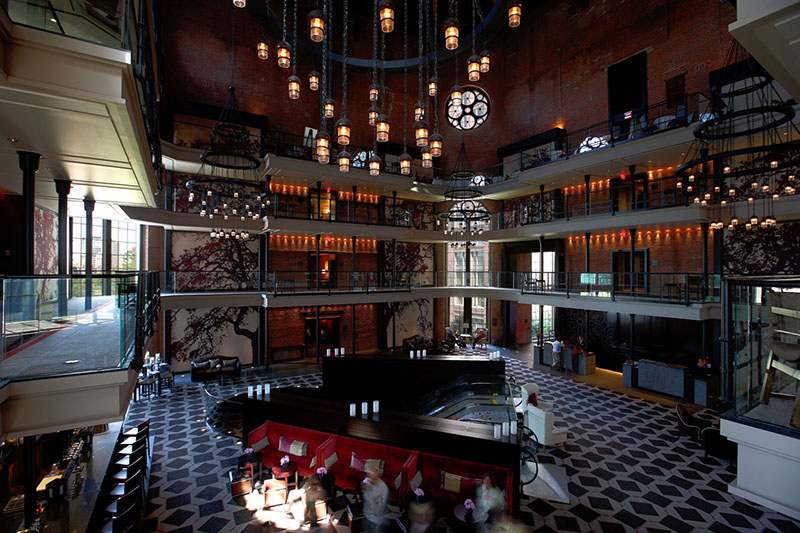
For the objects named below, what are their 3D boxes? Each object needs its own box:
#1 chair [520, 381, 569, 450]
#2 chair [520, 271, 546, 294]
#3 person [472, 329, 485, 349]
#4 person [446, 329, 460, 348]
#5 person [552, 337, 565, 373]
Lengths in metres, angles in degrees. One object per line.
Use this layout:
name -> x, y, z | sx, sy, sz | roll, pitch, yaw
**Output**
chair -> 4.941, 5.135, 19.166 | 1.683, 2.041, 1.814 | -2, -3, 27
chair -> 6.250, 0.775, 25.933 | 0.684, 1.003, 1.628 | -1, -4, -21
person -> 4.203, 3.920, 29.939 | 0.531, 0.315, 0.967 | -9, 10, 28
person -> 2.701, 3.904, 29.680 | 0.639, 0.919, 1.379 | -3, -4, 4
person -> 7.254, 4.141, 25.526 | 0.542, 1.269, 0.754 | -4, -4, 12
